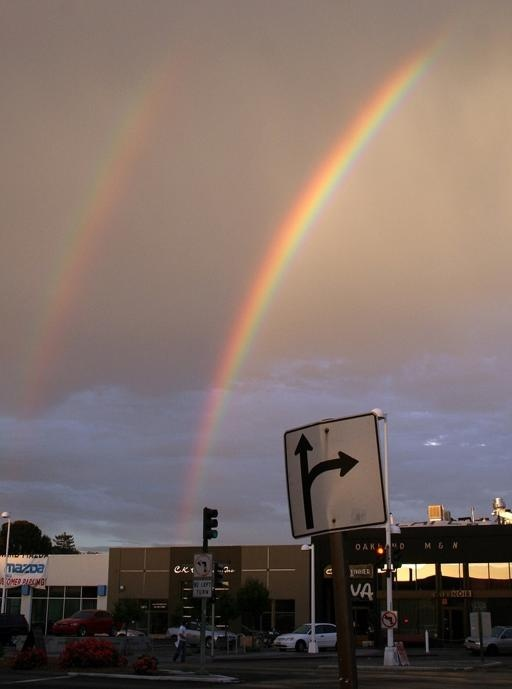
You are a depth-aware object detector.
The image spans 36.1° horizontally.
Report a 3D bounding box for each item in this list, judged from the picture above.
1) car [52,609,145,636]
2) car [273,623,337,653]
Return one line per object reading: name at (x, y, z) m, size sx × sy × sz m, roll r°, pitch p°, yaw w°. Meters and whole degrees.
car at (-9.062, 15.163, 42.861) m, size 1.943 × 1.385 × 4.749 m, roll -5°, pitch -16°, yaw 9°
car at (2.908, 16.583, 44.563) m, size 3.449 × 1.499 × 2.128 m, roll 4°, pitch -17°, yaw -24°
